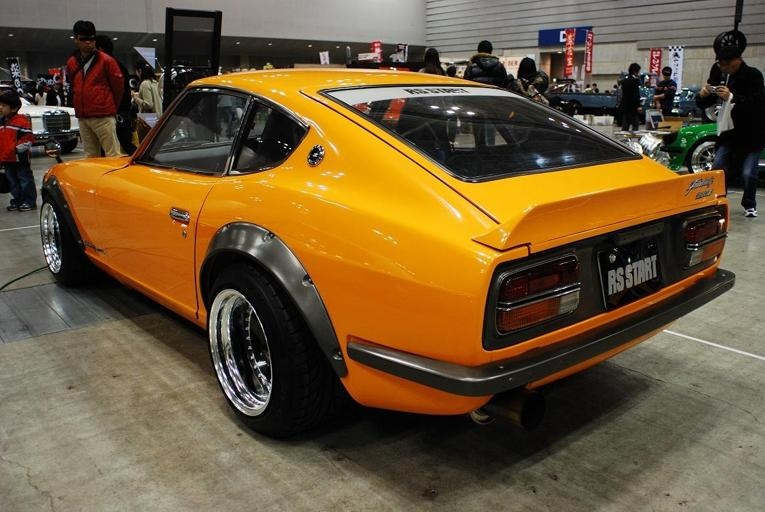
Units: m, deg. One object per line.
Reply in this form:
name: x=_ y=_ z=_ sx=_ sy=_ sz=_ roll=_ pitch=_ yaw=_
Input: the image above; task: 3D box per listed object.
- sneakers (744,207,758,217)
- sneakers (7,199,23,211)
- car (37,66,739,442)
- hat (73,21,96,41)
sneakers: x=5.233 y=-0.618 z=6.394 sx=0.098 sy=0.095 sz=0.242 roll=1 pitch=1 yaw=26
sneakers: x=-5.660 y=-0.793 z=6.897 sx=0.311 sy=0.128 sz=0.112 roll=9 pitch=11 yaw=8
car: x=-0.615 y=-0.256 z=2.924 sx=2.020 sy=1.171 sz=3.812 roll=-10 pitch=20 yaw=-41
hat: x=-3.937 y=-2.984 z=5.932 sx=0.243 sy=0.273 sz=0.594 roll=-12 pitch=23 yaw=-29
